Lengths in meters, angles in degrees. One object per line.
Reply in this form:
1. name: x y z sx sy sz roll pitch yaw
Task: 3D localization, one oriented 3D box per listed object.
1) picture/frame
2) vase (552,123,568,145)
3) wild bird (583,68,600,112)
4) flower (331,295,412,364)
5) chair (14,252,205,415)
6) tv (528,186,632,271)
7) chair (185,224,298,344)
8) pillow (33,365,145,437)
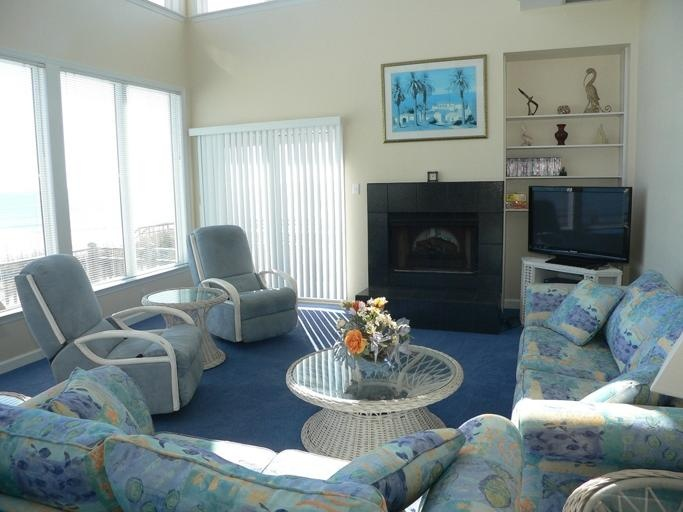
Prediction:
1. picture/frame: 1.076 -1.785 5.400 1.104 0.775 0.040 1 11 19
2. vase: 2.385 -1.322 5.275 0.137 0.234 0.222 3 12 23
3. wild bird: 2.664 -1.760 5.158 0.184 0.493 0.256 4 12 26
4. flower: 0.152 0.449 3.000 0.428 0.351 0.437 0 4 36
5. chair: -1.614 0.522 3.563 1.143 0.956 0.704 1 9 -7
6. tv: 2.401 -0.285 4.834 0.844 0.612 0.228 5 10 41
7. chair: -1.005 0.266 4.970 0.779 0.991 1.035 -9 16 -44
8. pillow: -0.964 0.566 1.913 0.168 0.310 0.456 -36 6 -15
